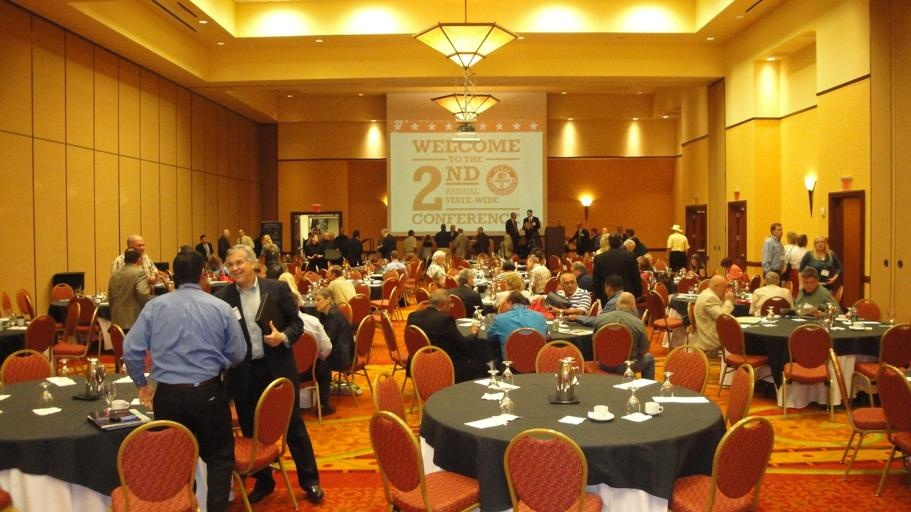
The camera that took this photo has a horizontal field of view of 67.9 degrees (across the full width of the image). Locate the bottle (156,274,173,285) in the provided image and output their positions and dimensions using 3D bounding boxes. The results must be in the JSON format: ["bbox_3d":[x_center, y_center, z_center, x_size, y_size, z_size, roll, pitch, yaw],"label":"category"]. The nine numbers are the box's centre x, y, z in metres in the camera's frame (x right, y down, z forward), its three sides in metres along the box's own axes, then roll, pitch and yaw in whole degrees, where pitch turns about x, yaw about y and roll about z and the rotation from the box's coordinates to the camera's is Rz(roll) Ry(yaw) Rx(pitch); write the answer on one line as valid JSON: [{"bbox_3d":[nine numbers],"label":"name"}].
[{"bbox_3d":[-6.510,0.502,15.017,0.357,0.169,0.481,8,-2,-3],"label":"bottle"}]

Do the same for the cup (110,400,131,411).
[{"bbox_3d":[-4.285,1.885,8.639,0.124,0.085,0.194,-2,-7,24],"label":"cup"}]

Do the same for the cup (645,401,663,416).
[{"bbox_3d":[2.549,1.929,8.641,0.151,0.124,0.199,2,-5,-40],"label":"cup"}]
